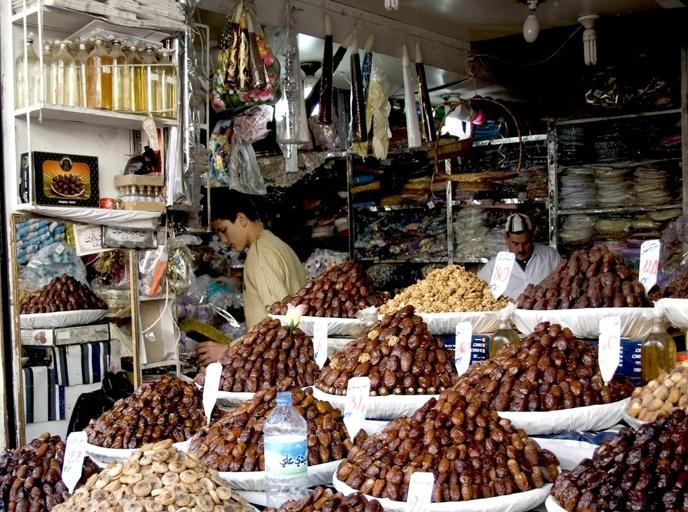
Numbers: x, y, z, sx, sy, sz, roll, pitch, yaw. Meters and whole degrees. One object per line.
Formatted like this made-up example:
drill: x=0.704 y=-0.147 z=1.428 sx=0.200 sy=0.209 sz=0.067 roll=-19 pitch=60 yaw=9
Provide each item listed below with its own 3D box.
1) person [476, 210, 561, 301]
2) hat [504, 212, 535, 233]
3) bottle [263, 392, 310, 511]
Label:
person: x=1.386 y=-0.022 z=4.903 sx=0.683 sy=0.656 sz=0.231 roll=-5 pitch=17 yaw=0
hat: x=1.457 y=-0.271 z=5.226 sx=0.208 sy=0.164 sz=0.162 roll=-7 pitch=3 yaw=-34
bottle: x=-0.198 y=0.654 z=2.108 sx=0.163 sy=0.310 sz=0.330 roll=-5 pitch=3 yaw=-5
